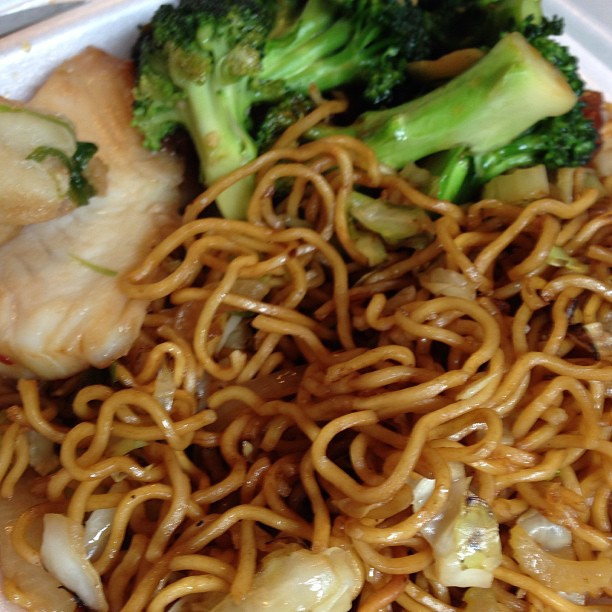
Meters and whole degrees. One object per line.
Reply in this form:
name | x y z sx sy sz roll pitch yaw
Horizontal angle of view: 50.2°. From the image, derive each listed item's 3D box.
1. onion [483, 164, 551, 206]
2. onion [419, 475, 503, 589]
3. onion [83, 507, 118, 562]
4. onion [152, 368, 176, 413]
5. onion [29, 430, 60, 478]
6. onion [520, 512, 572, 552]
onion | 0.534 -0.299 1.655 0.146 0.111 0.133 -6 75 -3
onion | 0.312 0.443 1.316 0.224 0.058 0.205 -14 80 8
onion | -0.458 0.500 1.432 0.082 0.030 0.103 23 73 -32
onion | -0.328 0.190 1.511 0.065 0.024 0.081 -6 78 -12
onion | -0.629 0.352 1.544 0.085 0.026 0.099 -14 93 -38
onion | 0.504 0.477 1.402 0.114 0.033 0.073 28 104 -7
